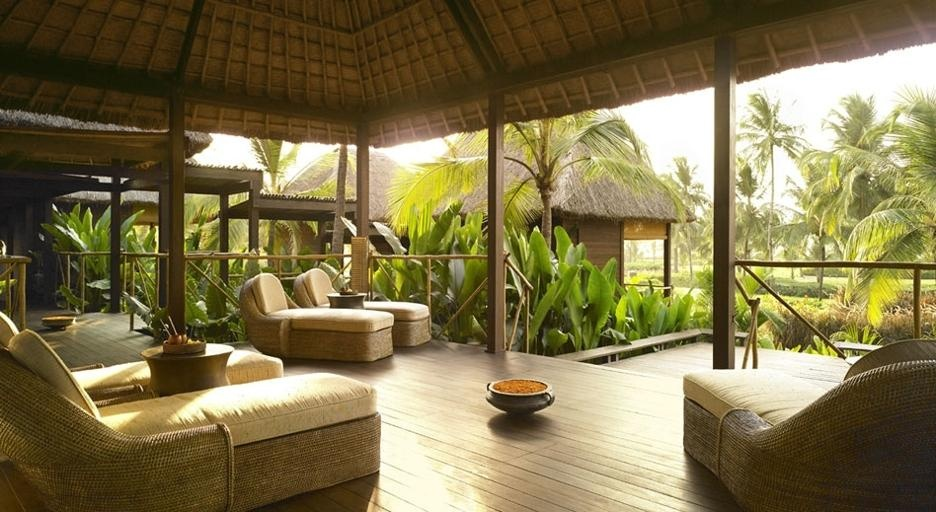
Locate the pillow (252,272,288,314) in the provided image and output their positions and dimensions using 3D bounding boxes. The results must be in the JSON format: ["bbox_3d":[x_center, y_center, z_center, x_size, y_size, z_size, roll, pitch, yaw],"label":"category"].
[{"bbox_3d":[-2.722,0.507,7.727,0.183,0.491,0.510,-23,-11,17],"label":"pillow"}]

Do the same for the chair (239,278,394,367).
[{"bbox_3d":[-1.998,0.812,7.661,1.763,0.952,1.096,-1,-3,17],"label":"chair"}]

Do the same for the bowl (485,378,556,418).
[{"bbox_3d":[0.569,1.436,5.839,0.660,0.245,0.705,-1,6,0],"label":"bowl"}]

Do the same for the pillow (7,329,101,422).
[{"bbox_3d":[-3.127,0.882,4.272,0.690,0.661,0.219,0,2,0],"label":"pillow"}]
